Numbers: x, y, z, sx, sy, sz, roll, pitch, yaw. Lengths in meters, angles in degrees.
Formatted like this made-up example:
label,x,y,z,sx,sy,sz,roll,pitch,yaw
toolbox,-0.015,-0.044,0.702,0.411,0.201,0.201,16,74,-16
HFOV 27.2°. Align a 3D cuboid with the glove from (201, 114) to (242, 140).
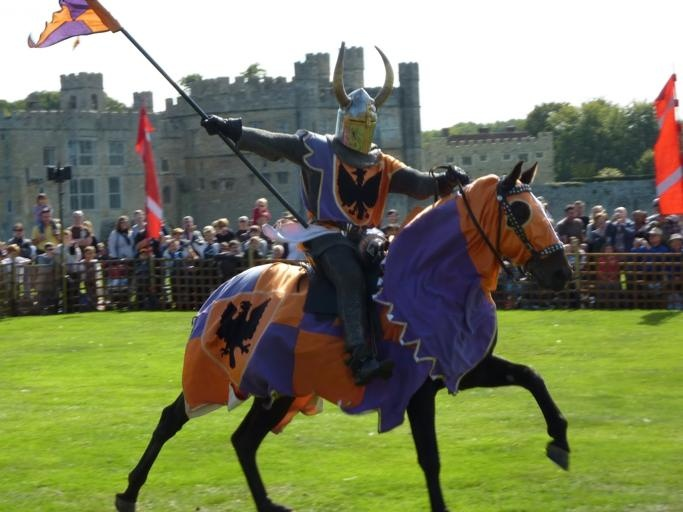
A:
label,x,y,z,sx,sy,sz,roll,pitch,yaw
glove,-1.715,-1.881,20.476,0.670,0.274,0.282,11,25,11
